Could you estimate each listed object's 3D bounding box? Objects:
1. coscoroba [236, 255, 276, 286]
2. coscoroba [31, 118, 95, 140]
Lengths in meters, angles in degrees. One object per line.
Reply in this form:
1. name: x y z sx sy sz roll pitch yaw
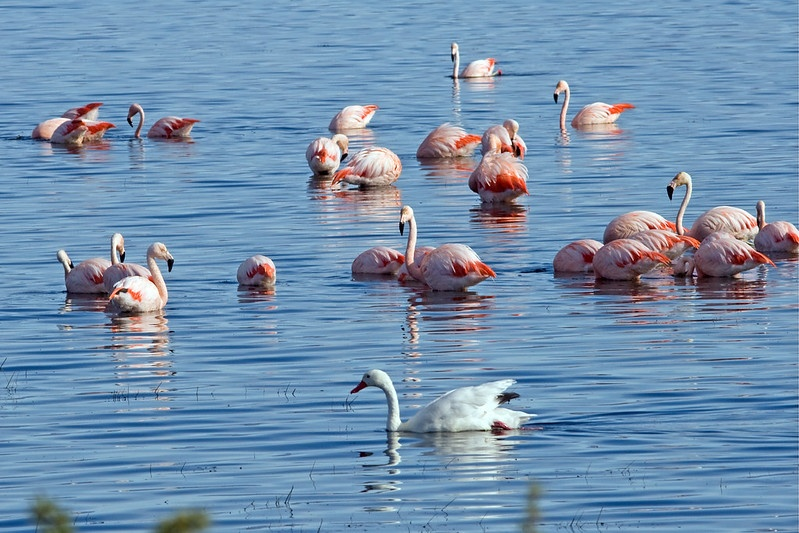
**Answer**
1. coscoroba: -2.292 0.089 22.510 0.635 0.721 0.464 1 77 -2
2. coscoroba: -8.604 -3.408 35.285 0.981 0.706 0.360 -9 91 -17
